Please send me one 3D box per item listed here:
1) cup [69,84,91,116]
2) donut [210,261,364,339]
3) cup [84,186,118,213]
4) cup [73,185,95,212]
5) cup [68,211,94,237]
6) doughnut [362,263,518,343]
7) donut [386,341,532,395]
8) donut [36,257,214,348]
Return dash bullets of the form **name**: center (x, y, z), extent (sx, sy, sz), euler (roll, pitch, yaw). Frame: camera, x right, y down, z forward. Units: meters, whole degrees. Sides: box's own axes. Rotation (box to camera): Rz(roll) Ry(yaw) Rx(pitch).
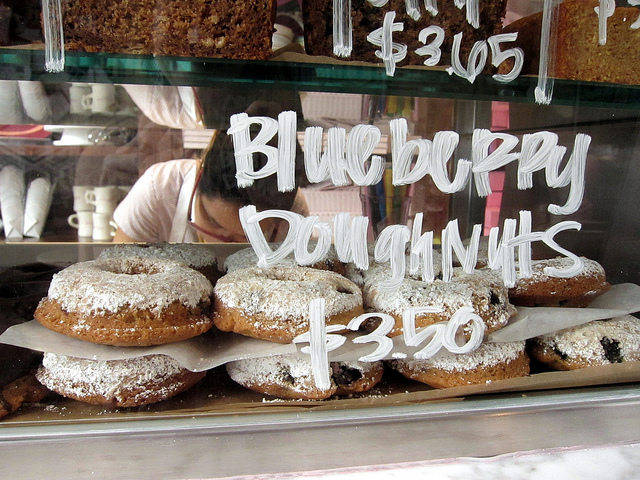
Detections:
- **cup**: center (-0.499, -0.298, 1.146), extent (0.070, 0.058, 0.041), euler (8, 11, 20)
- **donut**: center (-0.071, 0.125, 1.128), extent (0.311, 0.123, 0.153), euler (-4, 16, -11)
- **cup**: center (-0.487, -0.090, 1.218), extent (0.083, 0.048, 0.048), euler (-1, 6, -18)
- **cup**: center (-0.535, -0.095, 1.215), extent (0.045, 0.057, 0.021), euler (-6, 18, -16)
- **cup**: center (-0.538, -0.035, 1.212), extent (0.052, 0.057, 0.024), euler (-7, 18, -19)
- **doughnut**: center (0.266, 0.114, 1.219), extent (0.322, 0.084, 0.285), euler (0, 21, 7)
- **donut**: center (0.300, 0.262, 1.147), extent (0.323, 0.115, 0.078), euler (-3, 17, -6)
- **donut**: center (-0.424, 0.116, 1.155), extent (0.375, 0.112, 0.324), euler (0, 20, -3)
